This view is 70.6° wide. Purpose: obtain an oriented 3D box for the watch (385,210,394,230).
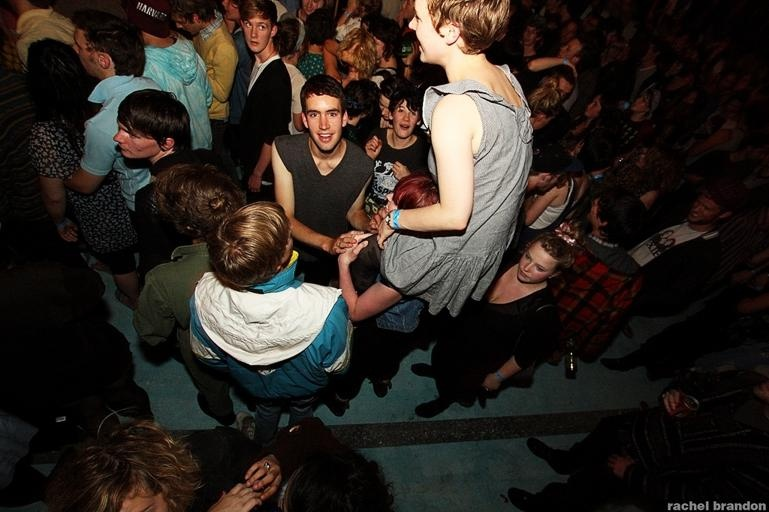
[{"bbox_3d":[0.038,-0.272,4.069,0.047,0.113,0.094,6,3,0],"label":"watch"}]
